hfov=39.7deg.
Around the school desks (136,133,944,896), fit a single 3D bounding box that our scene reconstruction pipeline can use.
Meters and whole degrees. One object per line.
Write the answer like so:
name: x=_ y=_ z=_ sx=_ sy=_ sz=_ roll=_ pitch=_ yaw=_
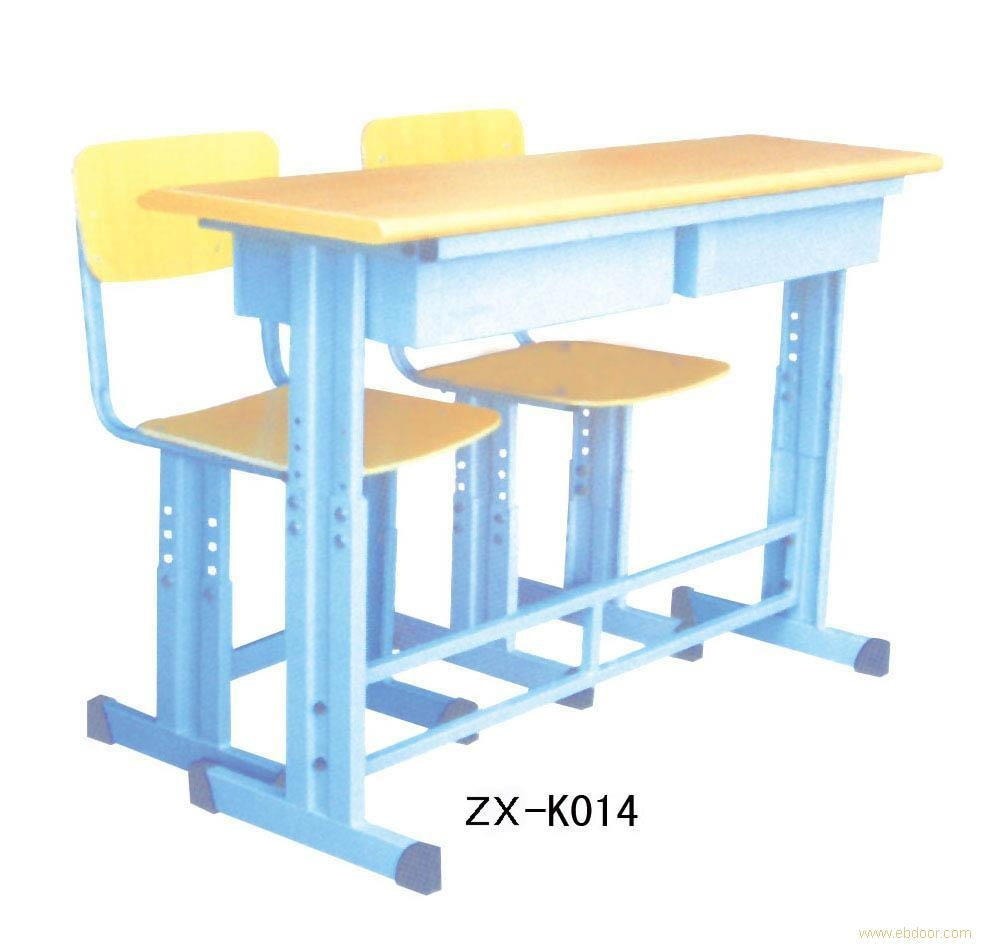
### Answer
school desks: x=0.207 y=-0.018 z=2.242 sx=0.531 sy=0.841 sz=1.443 roll=8 pitch=16 yaw=41
